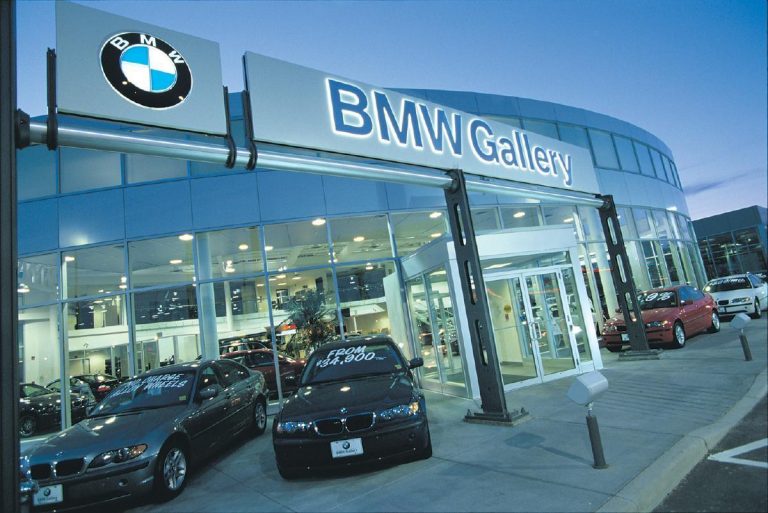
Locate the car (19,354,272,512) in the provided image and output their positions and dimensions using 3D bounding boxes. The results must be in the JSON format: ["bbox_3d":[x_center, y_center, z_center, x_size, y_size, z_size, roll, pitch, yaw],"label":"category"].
[{"bbox_3d":[-4.174,3.174,9.552,1.704,2.646,3.843,-8,2,32],"label":"car"}]

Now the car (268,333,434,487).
[{"bbox_3d":[-0.501,2.683,11.085,2.735,1.725,5.617,-9,-2,3],"label":"car"}]

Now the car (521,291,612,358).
[{"bbox_3d":[4.689,1.665,13.423,1.330,1.032,2.156,-7,-15,38],"label":"car"}]
